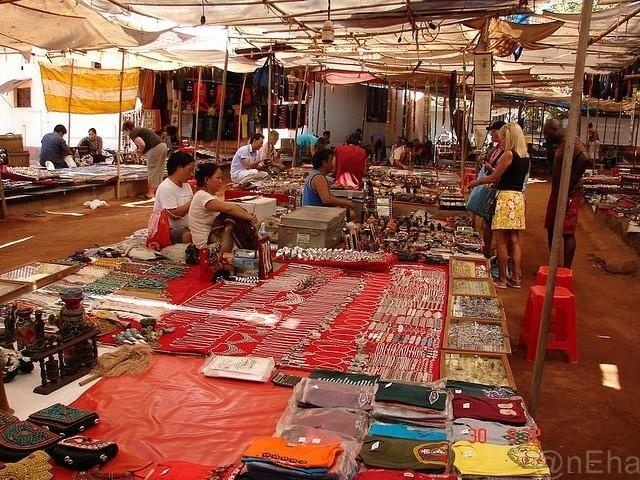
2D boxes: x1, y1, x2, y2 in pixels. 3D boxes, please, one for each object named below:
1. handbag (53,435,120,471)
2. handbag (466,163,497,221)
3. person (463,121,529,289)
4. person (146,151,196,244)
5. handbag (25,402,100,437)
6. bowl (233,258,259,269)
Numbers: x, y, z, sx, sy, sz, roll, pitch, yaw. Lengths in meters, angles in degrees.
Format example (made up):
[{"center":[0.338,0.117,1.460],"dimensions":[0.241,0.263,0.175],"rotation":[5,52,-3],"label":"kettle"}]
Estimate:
[{"center":[-1.278,1.068,2.220],"dimensions":[0.313,0.133,0.187],"rotation":[6,15,10],"label":"handbag"},{"center":[2.402,-0.730,6.273],"dimensions":[0.412,0.755,0.424],"rotation":[9,15,23],"label":"handbag"},{"center":[2.599,-0.451,5.859],"dimensions":[0.747,2.234,0.642],"rotation":[10,17,22],"label":"person"},{"center":[-2.205,-0.631,6.123],"dimensions":[0.665,1.271,0.589],"rotation":[-1,16,-17],"label":"person"},{"center":[-1.549,1.010,2.476],"dimensions":[0.365,0.075,0.369],"rotation":[2,-8,45],"label":"handbag"},{"center":[-0.935,0.247,5.190],"dimensions":[0.238,0.140,0.151],"rotation":[2,-4,17],"label":"bowl"}]
